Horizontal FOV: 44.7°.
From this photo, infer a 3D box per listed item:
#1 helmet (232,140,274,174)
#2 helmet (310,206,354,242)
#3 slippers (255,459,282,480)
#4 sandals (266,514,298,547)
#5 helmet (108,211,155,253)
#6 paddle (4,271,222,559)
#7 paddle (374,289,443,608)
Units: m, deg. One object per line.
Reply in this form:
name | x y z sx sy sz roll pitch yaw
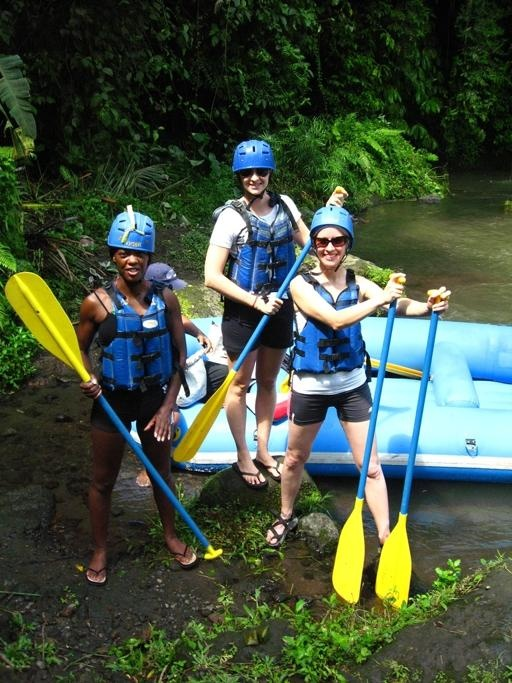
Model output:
helmet | -0.007 -0.888 2.952 0.172 0.151 0.202 -3 24 0
helmet | 0.320 -0.512 2.613 0.151 0.181 0.143 -1 64 6
slippers | 0.072 0.683 3.394 0.154 0.039 0.073 28 33 36
sandals | 0.140 0.927 3.161 0.081 0.084 0.224 8 32 33
helmet | -0.458 -0.421 2.417 0.157 0.148 0.194 13 21 -9
paddle | -0.743 0.452 3.257 0.326 2.180 0.165 -47 21 -15
paddle | 0.681 0.469 2.778 0.238 1.440 0.873 3 23 17
